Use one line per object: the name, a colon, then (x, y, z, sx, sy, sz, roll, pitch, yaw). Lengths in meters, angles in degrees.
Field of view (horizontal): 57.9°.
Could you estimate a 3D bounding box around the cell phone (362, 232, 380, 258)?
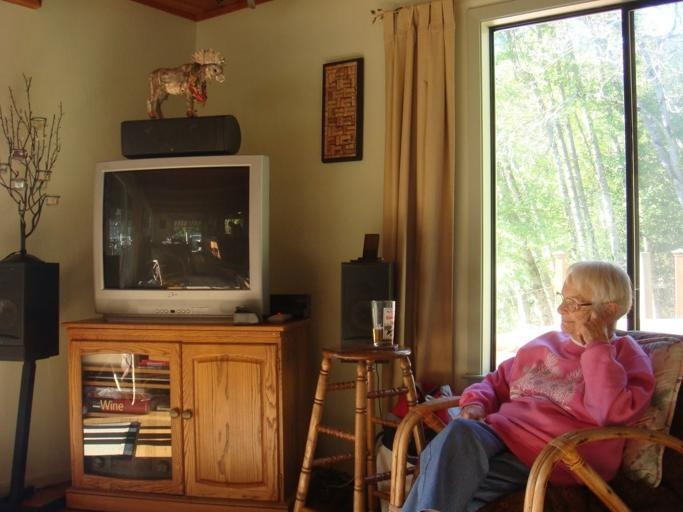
cell phone: (0.165, -0.056, 3.440, 0.085, 0.160, 0.170, -1, -3, 5)
